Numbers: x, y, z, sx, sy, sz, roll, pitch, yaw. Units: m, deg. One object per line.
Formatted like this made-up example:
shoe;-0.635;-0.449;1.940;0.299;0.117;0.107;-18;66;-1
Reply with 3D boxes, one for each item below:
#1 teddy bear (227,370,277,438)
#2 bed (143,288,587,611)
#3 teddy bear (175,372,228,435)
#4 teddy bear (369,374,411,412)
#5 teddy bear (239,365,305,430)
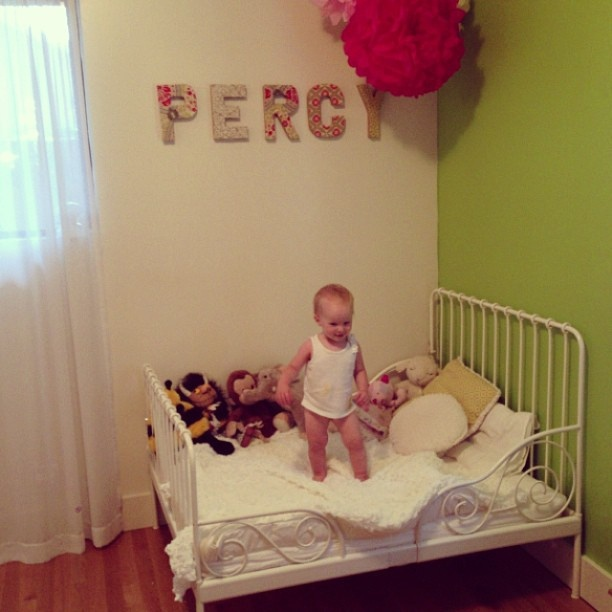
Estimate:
teddy bear;-0.249;0.428;2.637;0.212;0.279;0.103;-3;1;17
bed;0.218;0.555;2.298;1.212;0.977;1.179;-3;11;-14
teddy bear;-0.457;0.399;2.743;0.280;0.158;0.366;-9;0;-10
teddy bear;0.369;0.416;2.775;0.168;0.130;0.132;-33;2;-28
teddy bear;-0.138;0.369;2.576;0.211;0.284;0.109;-30;-6;7
